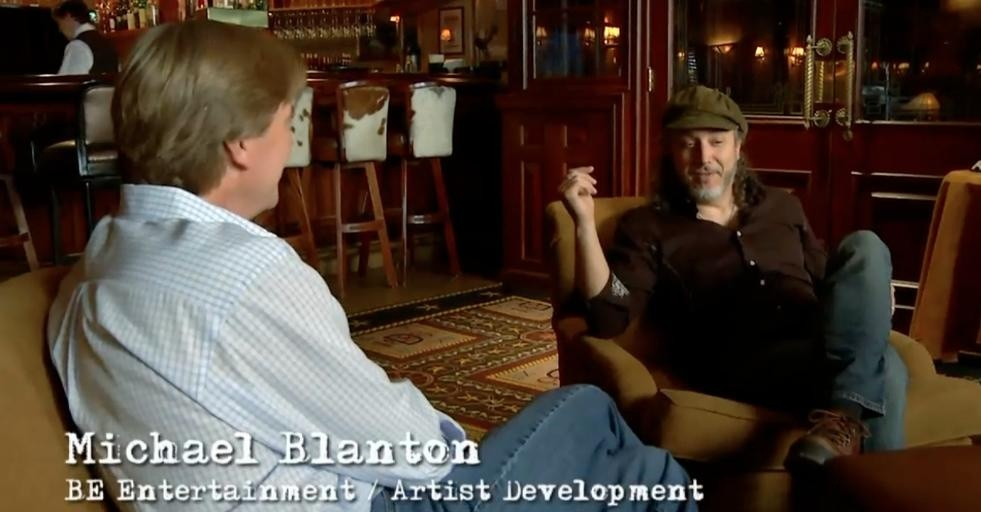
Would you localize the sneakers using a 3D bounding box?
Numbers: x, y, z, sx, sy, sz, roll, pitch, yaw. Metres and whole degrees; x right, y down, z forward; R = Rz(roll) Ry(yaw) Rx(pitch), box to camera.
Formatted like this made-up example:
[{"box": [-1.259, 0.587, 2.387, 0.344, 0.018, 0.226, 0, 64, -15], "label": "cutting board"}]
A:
[{"box": [1.216, 0.661, 2.711, 0.185, 0.170, 0.406, 11, 20, 39], "label": "sneakers"}]
